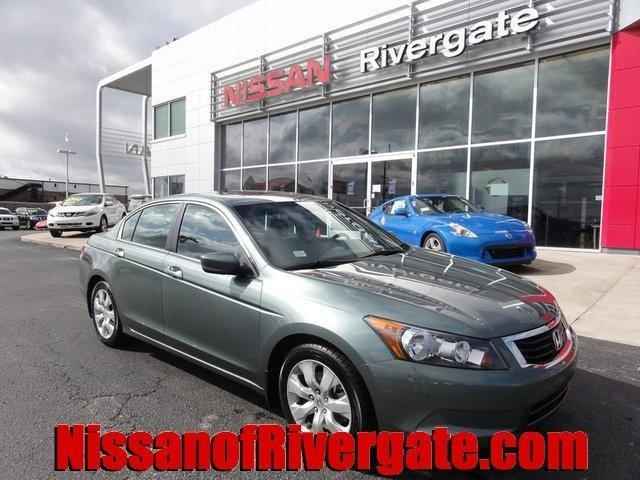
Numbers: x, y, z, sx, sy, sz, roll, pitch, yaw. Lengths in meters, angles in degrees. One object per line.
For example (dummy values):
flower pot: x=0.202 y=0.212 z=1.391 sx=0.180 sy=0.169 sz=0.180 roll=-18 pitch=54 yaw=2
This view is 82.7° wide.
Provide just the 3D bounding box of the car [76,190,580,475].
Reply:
car: x=-0.421 y=0.340 z=3.377 sx=4.169 sy=1.178 sz=1.913 roll=5 pitch=5 yaw=39

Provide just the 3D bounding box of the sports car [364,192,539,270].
sports car: x=2.510 y=-0.316 z=8.374 sx=1.876 sy=1.162 sz=3.894 roll=-3 pitch=7 yaw=-35

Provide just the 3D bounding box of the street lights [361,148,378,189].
street lights: x=1.886 y=-2.628 z=13.688 sx=0.217 sy=1.576 sz=0.549 roll=-5 pitch=9 yaw=-24
